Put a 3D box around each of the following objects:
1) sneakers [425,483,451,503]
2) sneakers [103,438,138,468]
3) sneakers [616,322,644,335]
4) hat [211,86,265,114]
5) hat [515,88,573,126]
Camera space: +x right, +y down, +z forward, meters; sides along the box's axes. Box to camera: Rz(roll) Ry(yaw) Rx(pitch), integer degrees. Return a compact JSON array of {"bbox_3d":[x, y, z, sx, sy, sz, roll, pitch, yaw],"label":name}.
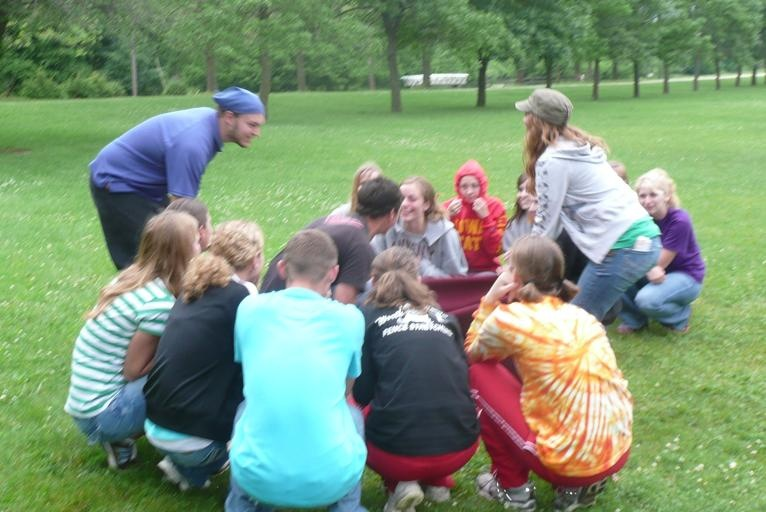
[{"bbox_3d":[0.573,2.462,7.624,0.199,0.117,0.194,1,-1,-7],"label":"sneakers"},{"bbox_3d":[-2.770,2.088,7.764,0.212,0.498,0.164,-7,52,-2],"label":"sneakers"},{"bbox_3d":[3.465,1.011,10.325,0.385,0.158,0.133,-4,4,4],"label":"sneakers"},{"bbox_3d":[-1.715,-1.880,8.812,0.483,0.232,0.332,3,19,-11],"label":"hat"},{"bbox_3d":[1.943,-1.835,8.831,0.629,0.309,0.423,23,37,11],"label":"hat"}]
